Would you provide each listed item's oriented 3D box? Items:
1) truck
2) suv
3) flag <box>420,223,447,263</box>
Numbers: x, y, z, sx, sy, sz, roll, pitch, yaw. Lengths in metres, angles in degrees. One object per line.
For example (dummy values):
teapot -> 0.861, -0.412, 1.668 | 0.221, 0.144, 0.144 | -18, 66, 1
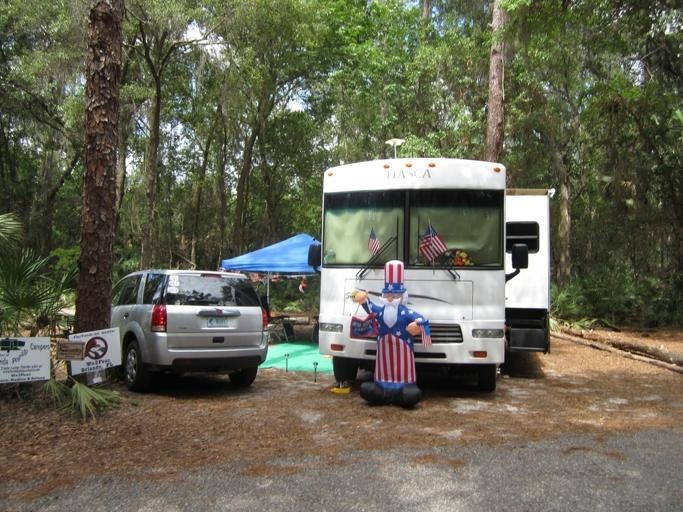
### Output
truck -> 1.703, 0.260, 13.147 | 3.070, 2.903, 4.790 | 0, -1, 10
suv -> -2.486, 1.210, 10.888 | 1.493, 1.495, 2.922 | 2, 0, -26
flag -> 1.558, -0.233, 11.003 | 0.535, 0.921, 0.064 | -14, -32, 21
